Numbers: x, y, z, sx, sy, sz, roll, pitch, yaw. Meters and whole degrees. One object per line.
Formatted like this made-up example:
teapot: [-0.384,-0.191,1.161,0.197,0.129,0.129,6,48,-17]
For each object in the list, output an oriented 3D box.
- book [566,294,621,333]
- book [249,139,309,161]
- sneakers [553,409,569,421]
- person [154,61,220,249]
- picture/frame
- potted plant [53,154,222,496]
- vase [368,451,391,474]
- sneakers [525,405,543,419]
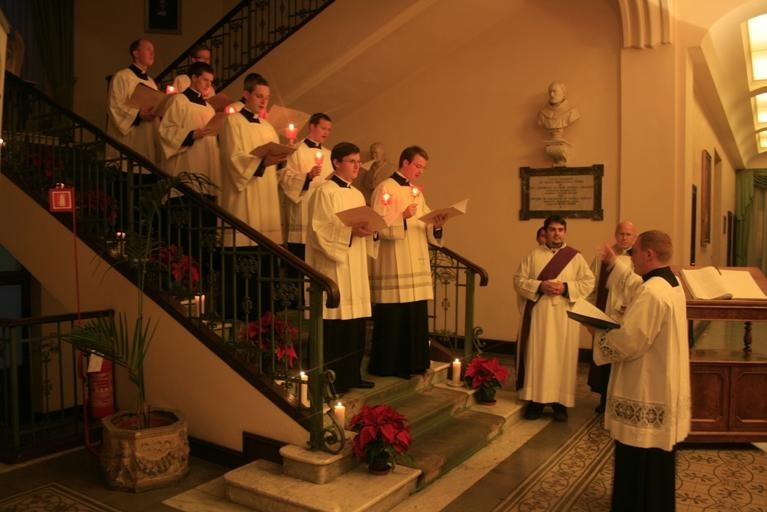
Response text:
book: [1.752,0.428,6.005,0.355,0.143,0.266,34,-27,-28]
book: [-1.104,-1.031,7.087,0.483,0.168,0.402,-2,-3,1]
sneakers: [1.937,1.735,7.941,0.154,0.129,0.157,-2,-3,12]
person: [-2.028,-1.197,7.885,0.556,1.836,0.678,28,36,22]
picture/frame: [2.450,-0.865,9.841,0.845,0.620,0.043,1,1,27]
potted plant: [-2.472,0.633,6.929,1.193,2.975,1.590,0,-3,-34]
vase: [-0.038,1.824,6.390,0.210,0.208,0.160,-1,-3,-6]
sneakers: [1.652,1.730,7.990,0.093,0.200,0.287,-2,-9,30]
